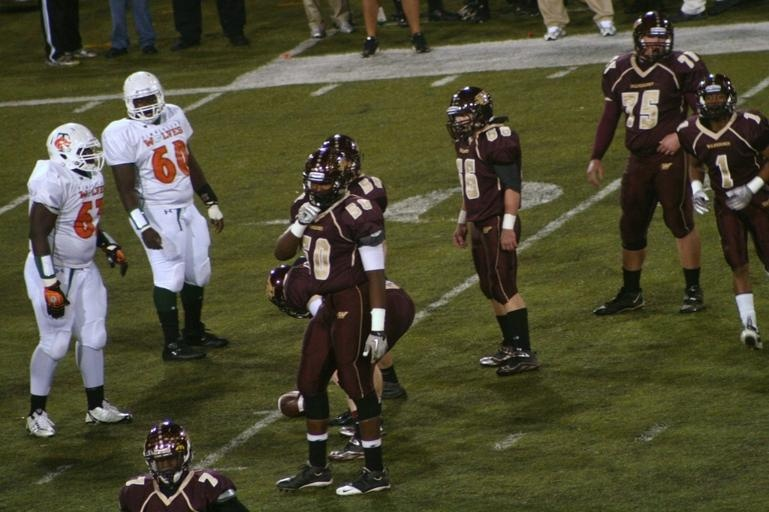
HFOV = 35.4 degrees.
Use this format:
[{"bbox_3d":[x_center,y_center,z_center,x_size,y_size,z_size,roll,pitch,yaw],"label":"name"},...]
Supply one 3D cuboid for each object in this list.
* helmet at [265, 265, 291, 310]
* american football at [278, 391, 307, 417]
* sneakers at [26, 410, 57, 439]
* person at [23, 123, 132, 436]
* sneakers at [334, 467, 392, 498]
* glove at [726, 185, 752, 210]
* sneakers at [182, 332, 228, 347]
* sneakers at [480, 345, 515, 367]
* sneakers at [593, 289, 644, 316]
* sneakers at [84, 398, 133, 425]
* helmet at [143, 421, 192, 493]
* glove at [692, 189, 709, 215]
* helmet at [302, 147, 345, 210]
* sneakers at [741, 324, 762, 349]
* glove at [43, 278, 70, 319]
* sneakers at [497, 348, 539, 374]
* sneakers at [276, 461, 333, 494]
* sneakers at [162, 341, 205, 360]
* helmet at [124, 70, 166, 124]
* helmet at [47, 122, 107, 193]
[{"bbox_3d":[-0.758,0.233,8.715,0.204,0.288,0.274,-10,13,-6],"label":"helmet"},{"bbox_3d":[-0.689,1.102,8.929,0.192,0.215,0.124,-6,14,12],"label":"american football"},{"bbox_3d":[-2.665,1.268,9.260,0.216,0.202,0.254,-12,13,-17],"label":"sneakers"},{"bbox_3d":[-2.500,0.176,9.313,0.612,2.290,0.987,-6,15,17],"label":"person"},{"bbox_3d":[-0.210,1.532,8.272,0.495,0.164,0.144,-3,19,-11],"label":"sneakers"},{"bbox_3d":[2.704,-0.434,9.125,0.204,0.139,0.068,-37,-19,29],"label":"glove"},{"bbox_3d":[-1.548,0.723,10.454,0.415,0.122,0.135,0,5,6],"label":"sneakers"},{"bbox_3d":[0.951,0.792,9.606,0.343,0.116,0.118,-7,12,-24],"label":"sneakers"},{"bbox_3d":[1.886,0.393,10.005,0.556,0.190,0.158,-6,30,3],"label":"sneakers"},{"bbox_3d":[-2.151,1.208,9.317,0.461,0.159,0.138,-1,12,-2],"label":"sneakers"},{"bbox_3d":[-1.354,1.228,7.461,0.357,0.340,0.421,-2,1,2],"label":"helmet"},{"bbox_3d":[2.499,-0.407,9.475,0.160,0.171,0.069,-3,-34,3],"label":"glove"},{"bbox_3d":[-0.410,-0.524,8.273,0.357,0.336,0.400,3,32,12],"label":"helmet"},{"bbox_3d":[2.822,0.607,9.231,0.161,0.208,0.146,-6,14,13],"label":"sneakers"},{"bbox_3d":[-2.518,0.331,9.197,0.173,0.310,0.153,-15,15,-22],"label":"glove"},{"bbox_3d":[1.034,0.811,9.441,0.431,0.163,0.144,-8,15,-2],"label":"sneakers"},{"bbox_3d":[-0.538,1.530,8.315,0.493,0.167,0.143,-1,16,-6],"label":"sneakers"},{"bbox_3d":[-1.725,0.802,10.243,0.318,0.103,0.172,-1,5,4],"label":"sneakers"},{"bbox_3d":[-2.123,-1.356,10.176,0.396,0.364,0.444,-6,25,-11],"label":"helmet"},{"bbox_3d":[-2.387,-0.827,9.494,0.583,0.371,0.371,7,9,2],"label":"helmet"}]
